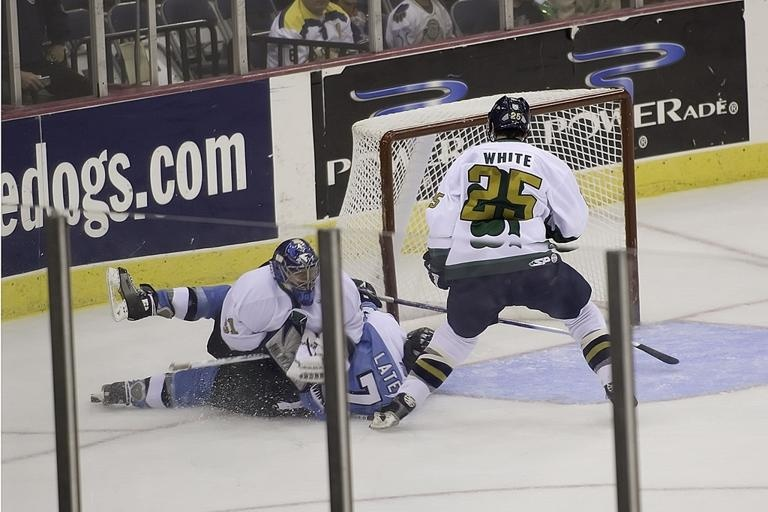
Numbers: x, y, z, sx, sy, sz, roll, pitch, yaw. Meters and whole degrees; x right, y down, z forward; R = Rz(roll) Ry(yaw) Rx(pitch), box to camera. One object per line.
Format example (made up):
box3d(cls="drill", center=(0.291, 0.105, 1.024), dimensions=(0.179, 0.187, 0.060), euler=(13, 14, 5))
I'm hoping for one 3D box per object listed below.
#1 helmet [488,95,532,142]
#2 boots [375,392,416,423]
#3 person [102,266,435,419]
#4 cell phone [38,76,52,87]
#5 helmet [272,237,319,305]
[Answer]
box3d(cls="helmet", center=(0.586, -0.650, 5.543), dimensions=(0.214, 0.218, 0.241), euler=(3, -14, -4))
box3d(cls="boots", center=(0.034, 0.582, 4.440), dimensions=(0.155, 0.089, 0.066), euler=(-41, -5, -13))
box3d(cls="person", center=(-0.452, 0.308, 4.713), dimensions=(1.431, 0.380, 0.696), euler=(9, 37, -11))
box3d(cls="cell phone", center=(-2.094, -1.073, 7.278), dimensions=(0.056, 0.066, 0.099), euler=(0, 2, 4))
box3d(cls="helmet", center=(-0.336, 0.042, 4.459), dimensions=(0.188, 0.218, 0.225), euler=(-7, 25, -22))
